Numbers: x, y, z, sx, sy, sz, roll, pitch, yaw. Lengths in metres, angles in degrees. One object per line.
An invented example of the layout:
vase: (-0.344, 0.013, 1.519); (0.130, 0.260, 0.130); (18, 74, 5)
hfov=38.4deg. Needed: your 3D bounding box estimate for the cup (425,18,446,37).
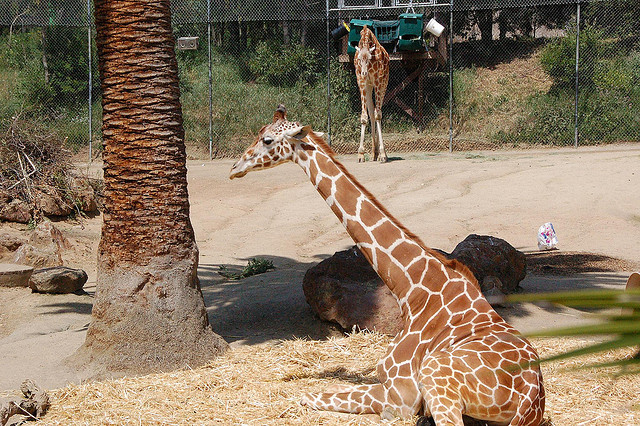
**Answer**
cup: (3.823, -6.238, 30.793); (0.542, 0.426, 0.558); (-47, 6, 7)
